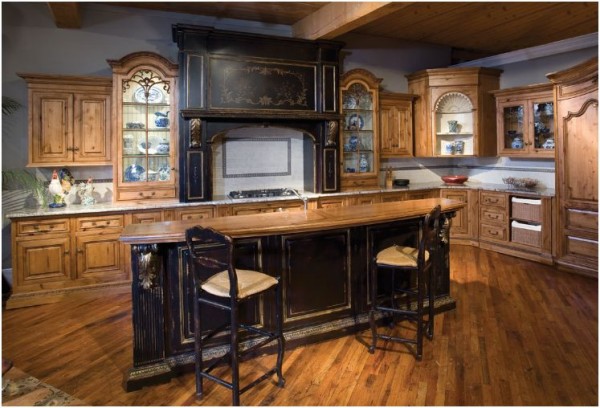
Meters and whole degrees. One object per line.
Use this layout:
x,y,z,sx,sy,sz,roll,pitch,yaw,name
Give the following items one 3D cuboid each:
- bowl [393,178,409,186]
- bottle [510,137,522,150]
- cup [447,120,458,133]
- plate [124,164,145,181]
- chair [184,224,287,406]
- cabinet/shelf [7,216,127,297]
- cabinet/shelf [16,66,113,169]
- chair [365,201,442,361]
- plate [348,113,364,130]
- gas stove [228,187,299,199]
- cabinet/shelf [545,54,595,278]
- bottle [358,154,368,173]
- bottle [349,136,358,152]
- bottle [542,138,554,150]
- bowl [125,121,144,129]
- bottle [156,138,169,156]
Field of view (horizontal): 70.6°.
1.823,-0.387,7.688,0.190,0.072,0.180,-2,6,0,bowl
3.656,-1.041,7.206,0.052,0.208,0.213,-7,9,-28,bottle
2.752,-1.414,7.684,0.204,0.244,0.209,-1,12,0,cup
-2.371,-0.455,6.073,0.245,0.235,0.161,1,-6,-19,plate
-0.611,0.968,4.067,0.897,1.635,0.743,-4,8,-8,chair
-3.038,0.666,5.485,1.104,0.760,0.419,-1,1,-20,cabinet/shelf
-3.246,-1.170,5.786,1.476,1.600,0.437,-1,2,-20,cabinet/shelf
1.139,0.760,4.656,0.751,1.523,0.914,0,8,18,chair
0.937,-1.404,7.242,0.265,0.255,0.084,0,-3,-14,plate
-0.622,-0.175,6.668,1.013,0.118,0.585,-5,8,-16,gas stove
3.887,-0.520,6.049,0.329,2.964,0.851,-5,8,-16,cabinet/shelf
1.097,-0.723,7.361,0.192,0.305,0.041,-7,9,-26,bottle
0.902,-1.052,7.262,0.224,0.256,0.209,0,13,6,bottle
3.981,-0.980,6.815,0.166,0.206,0.163,-1,7,0,bottle
-2.348,-1.128,6.022,0.146,0.060,0.101,4,17,9,bowl
-1.981,-0.859,6.183,0.206,0.206,0.207,1,1,-5,bottle
